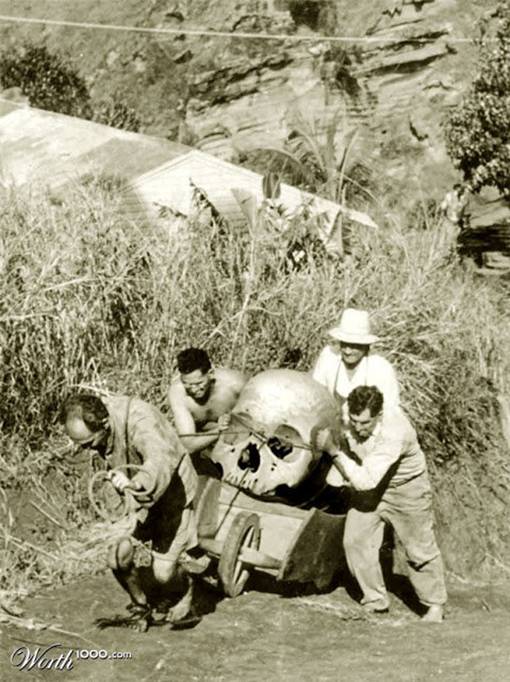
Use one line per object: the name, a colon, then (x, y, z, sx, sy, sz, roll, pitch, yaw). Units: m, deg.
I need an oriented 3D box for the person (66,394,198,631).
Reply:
person: (-0.747, 1.122, 6.867, 0.596, 1.767, 0.993, 0, 31, 14)

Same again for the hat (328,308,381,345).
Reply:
hat: (0.737, -0.082, 7.979, 0.269, 0.161, 0.289, 9, 2, 6)

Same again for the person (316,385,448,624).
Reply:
person: (0.857, 1.137, 7.524, 0.802, 1.797, 0.677, -6, 18, -5)

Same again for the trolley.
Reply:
trolley: (0.177, 1.349, 7.393, 0.852, 0.730, 1.269, 6, 6, 29)
